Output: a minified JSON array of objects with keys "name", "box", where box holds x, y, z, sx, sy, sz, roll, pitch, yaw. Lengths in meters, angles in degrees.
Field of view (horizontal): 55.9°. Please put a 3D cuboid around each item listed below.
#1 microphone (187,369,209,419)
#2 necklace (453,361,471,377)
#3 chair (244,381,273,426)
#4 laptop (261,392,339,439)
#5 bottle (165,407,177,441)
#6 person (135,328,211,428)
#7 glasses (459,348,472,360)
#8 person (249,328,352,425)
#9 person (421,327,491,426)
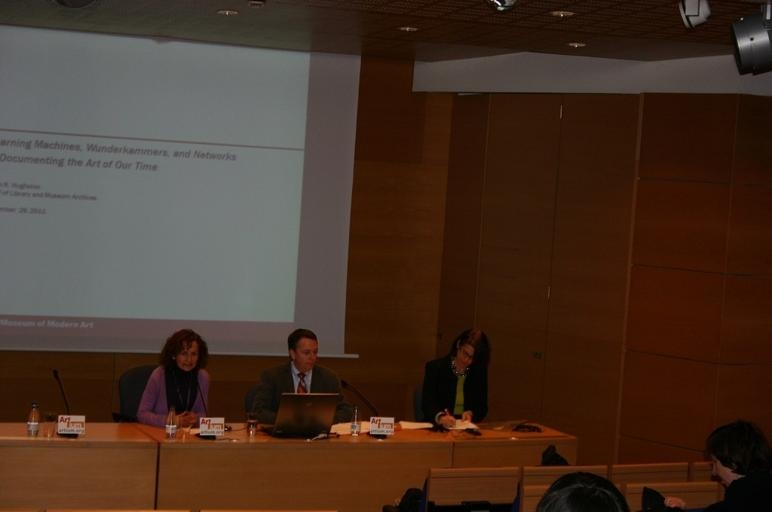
[{"name":"microphone","box":[-1.470,1.087,5.766,0.071,0.318,0.219,0,-3,16]},{"name":"necklace","box":[0.638,0.947,6.197,0.118,0.077,0.153,1,-9,-3]},{"name":"chair","box":[-0.925,1.139,5.568,0.218,0.317,0.272,3,-8,-8]},{"name":"laptop","box":[-0.578,1.131,5.196,0.402,0.313,0.358,3,0,-15]},{"name":"bottle","box":[-1.510,1.165,5.139,0.078,0.197,0.206,1,-2,-17]},{"name":"person","box":[-1.632,0.969,5.657,0.547,0.793,0.484,9,-10,-37]},{"name":"glasses","box":[0.683,0.814,6.120,0.071,0.086,0.093,-1,-37,-36]},{"name":"person","box":[-0.661,0.950,5.726,0.807,0.733,0.548,4,-11,-24]},{"name":"person","box":[0.605,1.018,6.172,0.608,0.793,0.304,1,-2,-19]}]
